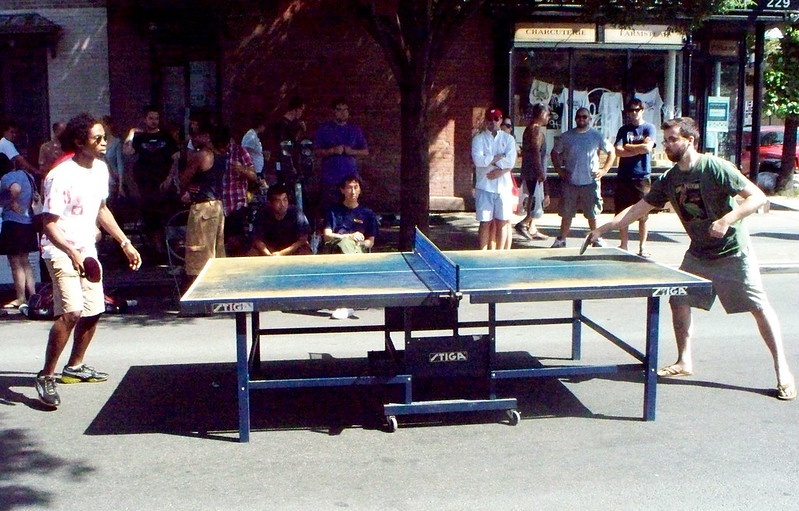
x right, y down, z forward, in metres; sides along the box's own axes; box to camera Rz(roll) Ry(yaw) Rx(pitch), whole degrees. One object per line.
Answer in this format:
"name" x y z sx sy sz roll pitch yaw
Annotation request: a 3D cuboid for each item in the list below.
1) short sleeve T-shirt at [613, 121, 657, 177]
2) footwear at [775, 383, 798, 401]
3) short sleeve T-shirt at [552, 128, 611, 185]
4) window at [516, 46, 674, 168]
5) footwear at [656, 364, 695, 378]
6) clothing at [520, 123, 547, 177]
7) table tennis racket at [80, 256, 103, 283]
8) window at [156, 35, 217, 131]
"short sleeve T-shirt" 4.139 -1.844 15.724 0.653 0.978 0.445 4 12 34
"footwear" 4.390 1.530 10.261 0.240 0.174 0.219 3 12 13
"short sleeve T-shirt" 3.257 -1.766 16.024 1.082 1.014 0.400 4 14 20
"window" 4.465 -3.509 21.360 4.533 3.424 0.296 -1 5 41
"footwear" 3.261 1.387 10.774 0.478 0.144 0.194 1 6 -2
"clothing" 2.649 -2.027 17.479 0.455 0.968 0.741 5 21 41
"table tennis racket" -3.456 0.159 10.179 0.194 0.274 0.096 -14 1 -34
"window" -5.052 -4.234 21.415 1.477 2.055 0.143 -1 47 -15
